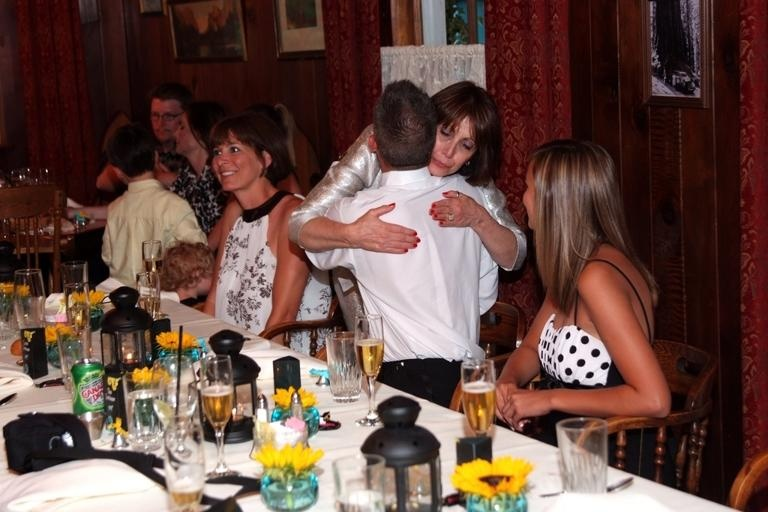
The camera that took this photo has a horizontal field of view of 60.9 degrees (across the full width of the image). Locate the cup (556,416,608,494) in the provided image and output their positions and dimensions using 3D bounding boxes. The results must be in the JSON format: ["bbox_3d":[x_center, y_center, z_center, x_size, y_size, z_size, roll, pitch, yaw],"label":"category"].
[{"bbox_3d":[0.503,0.516,1.659,0.120,0.224,0.137,-1,7,18],"label":"cup"}]

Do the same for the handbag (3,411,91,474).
[{"bbox_3d":[-0.982,0.548,1.920,0.200,0.198,0.089,-6,-3,-9],"label":"handbag"}]

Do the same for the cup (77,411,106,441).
[{"bbox_3d":[-0.930,0.542,2.089,0.070,0.102,0.080,2,2,30],"label":"cup"}]
